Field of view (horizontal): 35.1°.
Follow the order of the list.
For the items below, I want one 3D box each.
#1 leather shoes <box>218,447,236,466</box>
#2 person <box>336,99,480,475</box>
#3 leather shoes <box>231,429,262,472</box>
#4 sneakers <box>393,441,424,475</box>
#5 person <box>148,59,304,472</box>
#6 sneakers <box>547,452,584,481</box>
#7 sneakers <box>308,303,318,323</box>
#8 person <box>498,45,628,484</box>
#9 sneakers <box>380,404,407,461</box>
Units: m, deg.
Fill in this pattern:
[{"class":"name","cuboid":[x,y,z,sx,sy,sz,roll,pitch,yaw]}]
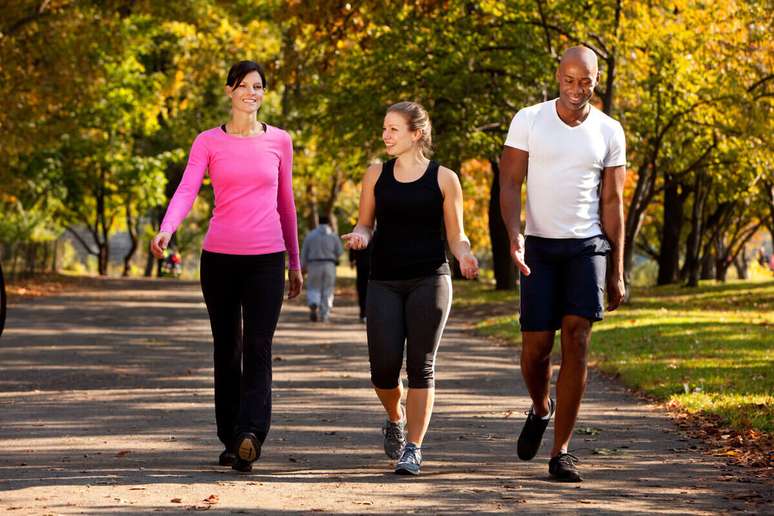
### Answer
[{"class":"leather shoes","cuboid":[-1.571,1.942,11.912,0.089,0.160,0.242,6,-4,-26]},{"class":"person","cuboid":[0.191,0.271,11.932,1.154,3.520,0.844,0,8,1]},{"class":"leather shoes","cuboid":[-1.342,1.833,11.608,0.198,0.445,0.212,13,36,-5]},{"class":"sneakers","cuboid":[0.228,1.918,11.811,0.341,0.288,0.203,-4,9,-30]},{"class":"person","cuboid":[-1.501,0.054,11.915,1.103,3.897,1.081,2,8,11]},{"class":"sneakers","cuboid":[1.691,1.984,11.613,0.179,0.171,0.378,3,-11,-14]},{"class":"sneakers","cuboid":[-1.446,1.063,23.843,0.133,0.364,0.135,-1,8,-7]},{"class":"person","cuboid":[1.677,0.025,11.774,1.198,4.070,0.777,1,8,4]},{"class":"sneakers","cuboid":[0.052,1.759,12.173,0.179,0.451,0.193,-1,-3,6]}]
